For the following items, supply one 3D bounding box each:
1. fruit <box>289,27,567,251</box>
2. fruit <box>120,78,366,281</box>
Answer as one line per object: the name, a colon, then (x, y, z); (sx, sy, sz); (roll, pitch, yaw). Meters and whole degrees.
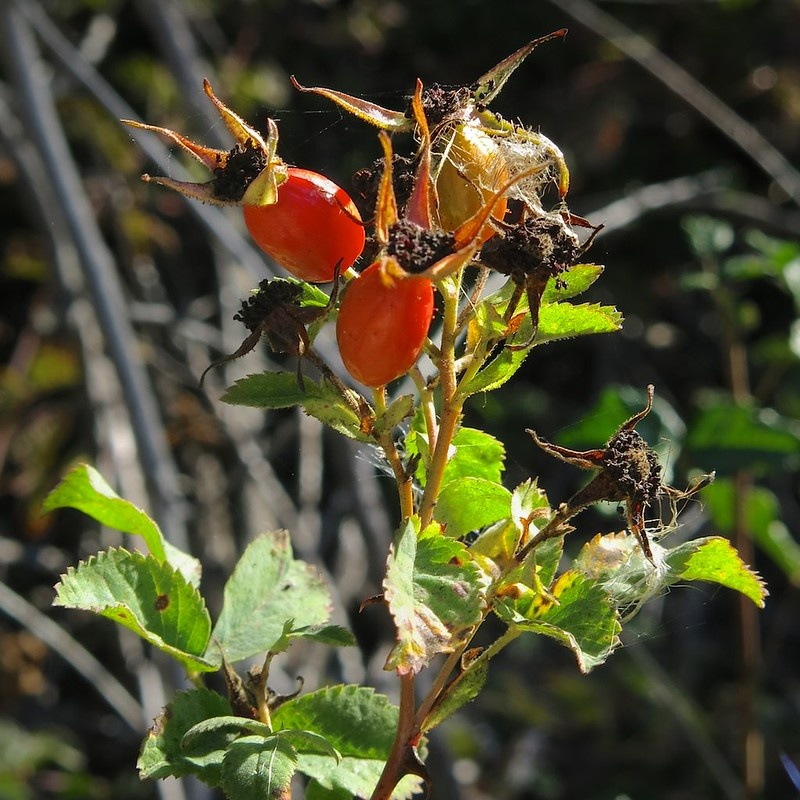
fruit: (0.068, -0.391, 1.989); (0.341, 0.201, 0.358); (-35, 41, -16)
fruit: (-0.238, -0.338, 2.125); (0.390, 0.219, 0.246); (35, 37, 20)
